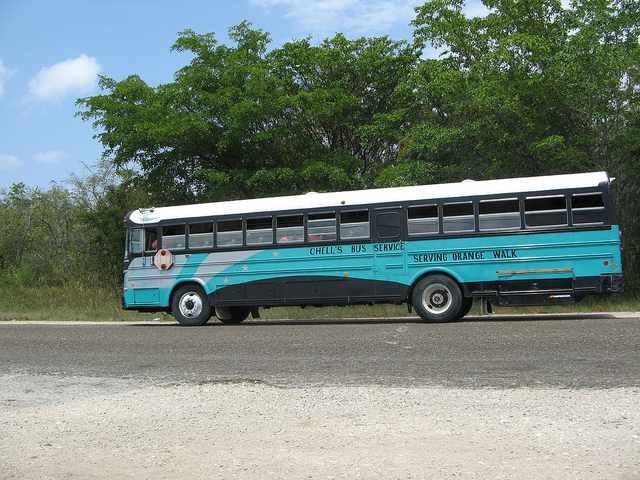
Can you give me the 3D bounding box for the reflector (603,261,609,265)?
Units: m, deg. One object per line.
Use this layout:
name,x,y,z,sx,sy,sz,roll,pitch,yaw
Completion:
reflector,7.419,0.583,18.268,0.125,0.087,0.034,-5,-1,4

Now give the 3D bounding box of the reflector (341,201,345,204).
reflector,0.669,-1.100,20.459,0.093,0.091,0.022,20,-2,21

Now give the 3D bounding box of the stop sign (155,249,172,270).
stop sign,-4.796,0.609,21.717,0.579,0.580,0.081,4,-7,18

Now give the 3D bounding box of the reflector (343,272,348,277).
reflector,0.731,0.979,20.016,0.133,0.132,0.032,5,2,15

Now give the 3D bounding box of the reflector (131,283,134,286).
reflector,-5.829,1.369,21.948,0.105,0.087,0.150,5,-2,-3

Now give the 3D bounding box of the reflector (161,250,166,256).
reflector,-4.822,0.384,21.738,0.154,0.153,0.036,11,0,11

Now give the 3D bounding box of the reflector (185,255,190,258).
reflector,-4.053,0.488,21.573,0.105,0.070,0.058,-1,-11,4
